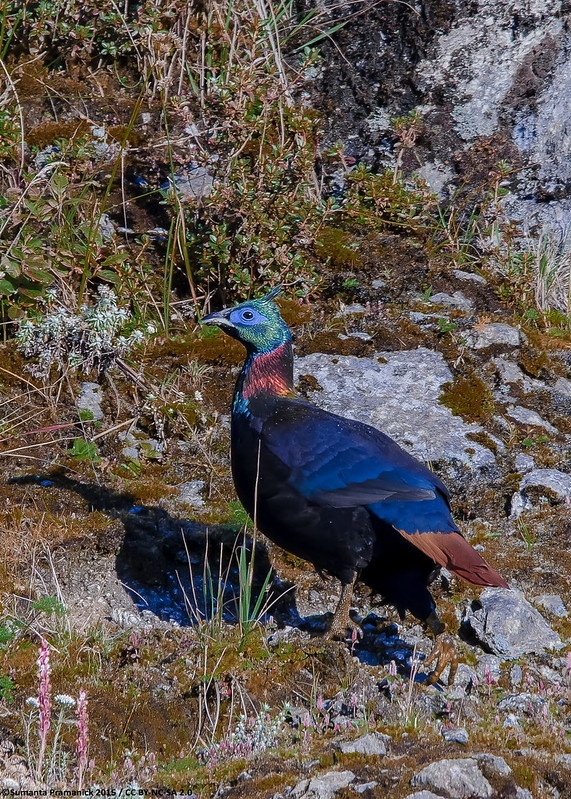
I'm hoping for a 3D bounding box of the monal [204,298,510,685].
[{"bbox_3d":[0.251,0.357,4.753,1.180,1.904,0.643,-5,-5,5],"label":"monal"}]
